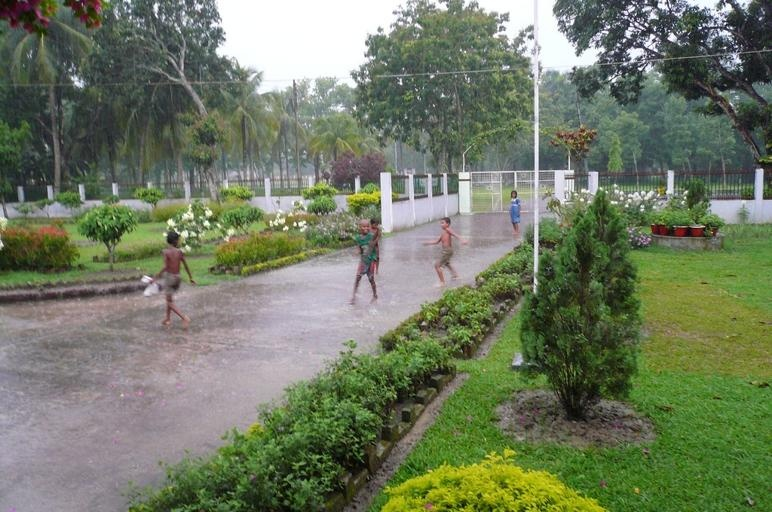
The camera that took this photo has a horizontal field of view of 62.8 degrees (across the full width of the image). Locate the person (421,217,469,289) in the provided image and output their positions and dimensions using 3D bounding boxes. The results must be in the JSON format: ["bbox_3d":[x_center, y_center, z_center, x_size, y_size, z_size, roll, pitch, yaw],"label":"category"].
[{"bbox_3d":[1.636,-0.139,16.486,1.201,1.702,0.885,9,16,30],"label":"person"}]

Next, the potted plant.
[{"bbox_3d":[9.990,-1.563,21.062,1.968,1.707,2.479,2,7,27],"label":"potted plant"}]
